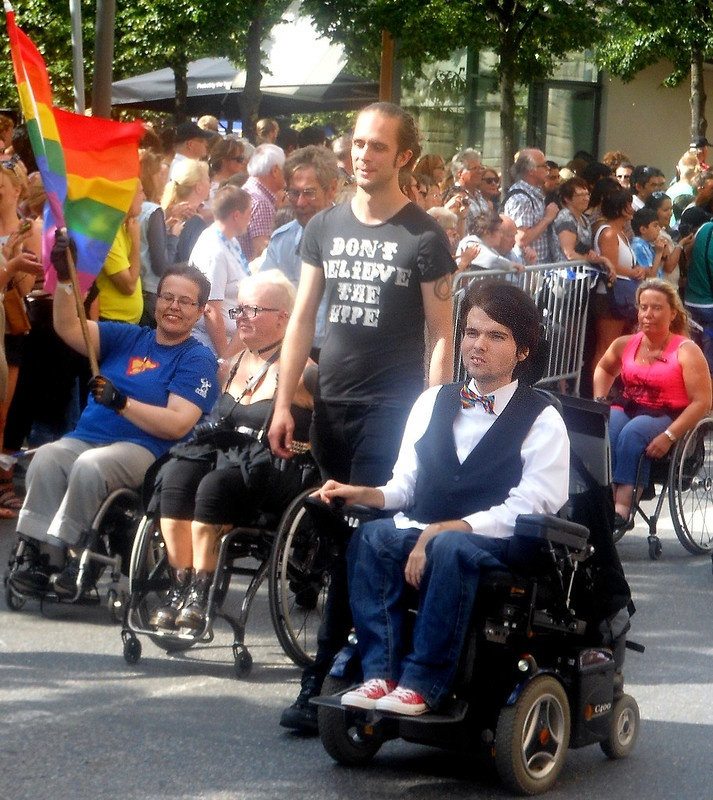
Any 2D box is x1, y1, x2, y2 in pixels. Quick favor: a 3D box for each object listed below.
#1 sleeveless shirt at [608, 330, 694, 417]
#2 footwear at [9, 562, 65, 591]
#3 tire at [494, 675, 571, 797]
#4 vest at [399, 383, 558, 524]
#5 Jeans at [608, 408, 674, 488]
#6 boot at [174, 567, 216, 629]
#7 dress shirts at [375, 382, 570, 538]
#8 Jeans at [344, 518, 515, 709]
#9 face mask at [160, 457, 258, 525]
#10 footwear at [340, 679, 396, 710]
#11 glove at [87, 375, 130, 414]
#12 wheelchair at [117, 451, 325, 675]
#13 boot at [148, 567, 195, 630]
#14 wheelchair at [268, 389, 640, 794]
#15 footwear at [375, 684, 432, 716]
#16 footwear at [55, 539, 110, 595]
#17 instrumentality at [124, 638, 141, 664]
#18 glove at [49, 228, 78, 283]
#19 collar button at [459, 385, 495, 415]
[{"bbox_3d":[2.253,-0.202,6.763,0.600,0.647,0.448,4,3,30],"label":"sleeveless shirt"},{"bbox_3d":[-1.554,0.872,4.331,0.278,0.116,0.116,15,-14,-30],"label":"footwear"},{"bbox_3d":[0.523,0.993,2.599,0.096,0.328,0.360,8,12,32],"label":"tire"},{"bbox_3d":[0.404,0.188,2.846,0.338,0.421,0.243,20,0,41],"label":"vest"},{"bbox_3d":[2.036,0.356,6.320,0.468,0.644,0.546,-3,-18,31],"label":"Jeans"},{"bbox_3d":[-0.698,0.862,3.784,0.130,0.238,0.132,3,0,0],"label":"boot"},{"bbox_3d":[0.439,0.199,2.983,0.674,0.521,0.498,8,2,35],"label":"dress shirts"},{"bbox_3d":[0.179,0.620,2.604,0.457,0.516,0.295,3,0,18],"label":"Jeans"},{"bbox_3d":[-0.681,0.392,3.825,0.243,0.152,0.408,5,-17,10],"label":"face mask"},{"bbox_3d":[0.031,0.832,2.496,0.065,0.062,0.169,-6,-13,34],"label":"footwear"},{"bbox_3d":[-1.191,-0.017,4.271,0.186,0.133,0.087,37,-38,-23],"label":"glove"},{"bbox_3d":[-0.519,0.651,4.046,0.778,1.112,0.996,-3,-10,32],"label":"wheelchair"},{"bbox_3d":[-0.791,0.863,3.861,0.123,0.265,0.277,8,-2,12],"label":"boot"},{"bbox_3d":[0.279,0.708,3.212,0.928,1.299,1.416,-5,-12,40],"label":"wheelchair"},{"bbox_3d":[0.129,0.839,2.450,0.137,0.075,0.077,3,0,-40],"label":"footwear"},{"bbox_3d":[-1.350,0.855,4.393,0.162,0.196,0.346,3,-8,0],"label":"footwear"},{"bbox_3d":[-0.997,1.105,3.909,0.074,0.116,0.100,3,0,-15],"label":"instrumentality"},{"bbox_3d":[-1.455,-0.704,4.369,0.123,0.226,0.347,3,0,-19],"label":"glove"},{"bbox_3d":[0.398,0.000,2.899,0.087,0.062,0.014,16,12,23],"label":"collar button"}]
